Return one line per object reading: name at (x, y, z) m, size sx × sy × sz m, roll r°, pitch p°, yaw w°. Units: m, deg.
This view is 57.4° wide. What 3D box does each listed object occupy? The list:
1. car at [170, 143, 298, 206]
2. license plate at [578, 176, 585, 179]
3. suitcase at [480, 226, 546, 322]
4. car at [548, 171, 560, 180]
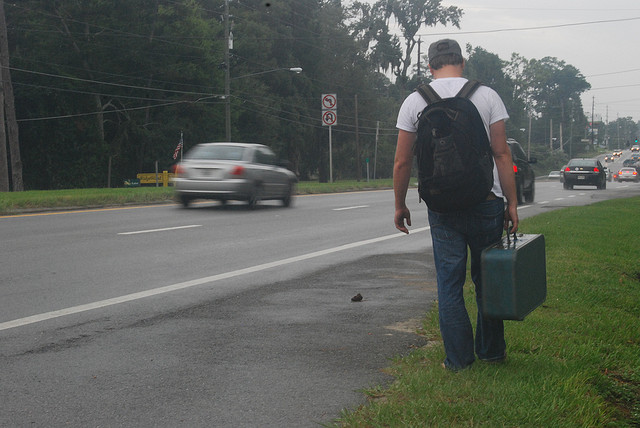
car at (-2.642, -1.306, 19.231) m, size 1.684 × 2.008 × 3.833 m, roll 5°, pitch 7°, yaw 42°
license plate at (16.883, -2.346, 37.818) m, size 0.379 × 0.167 × 0.107 m, roll 1°, pitch 5°, yaw 6°
suitcase at (1.660, 0.477, 4.969) m, size 0.266 × 0.683 × 0.794 m, roll -1°, pitch 10°, yaw 39°
car at (32.280, -5.241, 80.612) m, size 1.135 × 0.948 × 2.787 m, roll 0°, pitch 1°, yaw 18°
